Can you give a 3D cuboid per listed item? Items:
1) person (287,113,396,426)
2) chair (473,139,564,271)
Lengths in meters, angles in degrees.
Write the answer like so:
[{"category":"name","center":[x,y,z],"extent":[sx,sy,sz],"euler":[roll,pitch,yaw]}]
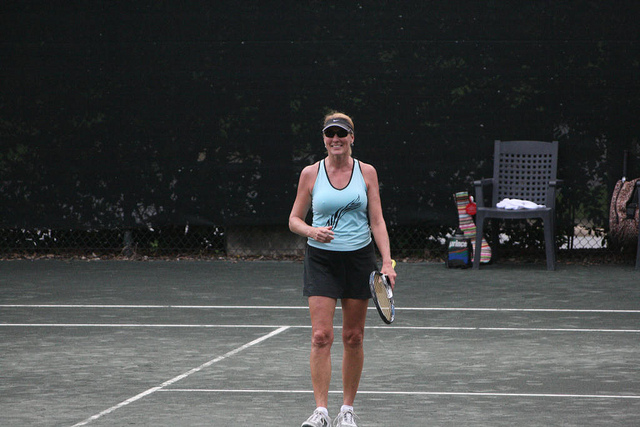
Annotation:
[{"category":"person","center":[0.195,0.479,7.812],"extent":[0.891,2.348,0.772],"euler":[-1,-1,-6]},{"category":"chair","center":[3.470,-0.168,14.883],"extent":[1.472,2.121,1.056],"euler":[-1,-1,15]}]
